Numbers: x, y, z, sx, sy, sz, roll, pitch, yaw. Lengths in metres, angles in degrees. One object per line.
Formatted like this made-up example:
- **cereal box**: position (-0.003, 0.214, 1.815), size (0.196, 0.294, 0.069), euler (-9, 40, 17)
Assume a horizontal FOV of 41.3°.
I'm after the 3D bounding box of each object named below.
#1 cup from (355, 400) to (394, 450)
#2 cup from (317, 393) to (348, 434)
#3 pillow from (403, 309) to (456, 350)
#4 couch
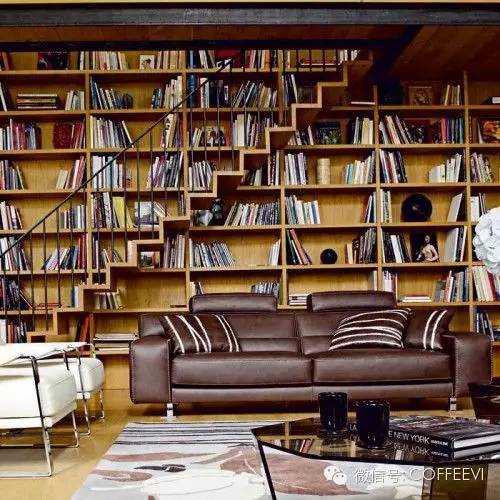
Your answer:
- **cup**: position (0.465, 0.649, 2.492), size (0.119, 0.160, 0.151), euler (-3, -2, 9)
- **cup**: position (0.336, 0.646, 2.643), size (0.163, 0.164, 0.152), euler (1, -7, 0)
- **pillow**: position (1.272, 0.549, 4.626), size (0.095, 0.276, 0.323), euler (34, -19, -28)
- **couch**: position (0.370, 0.728, 4.725), size (2.330, 0.855, 0.767), euler (-2, -2, 0)
